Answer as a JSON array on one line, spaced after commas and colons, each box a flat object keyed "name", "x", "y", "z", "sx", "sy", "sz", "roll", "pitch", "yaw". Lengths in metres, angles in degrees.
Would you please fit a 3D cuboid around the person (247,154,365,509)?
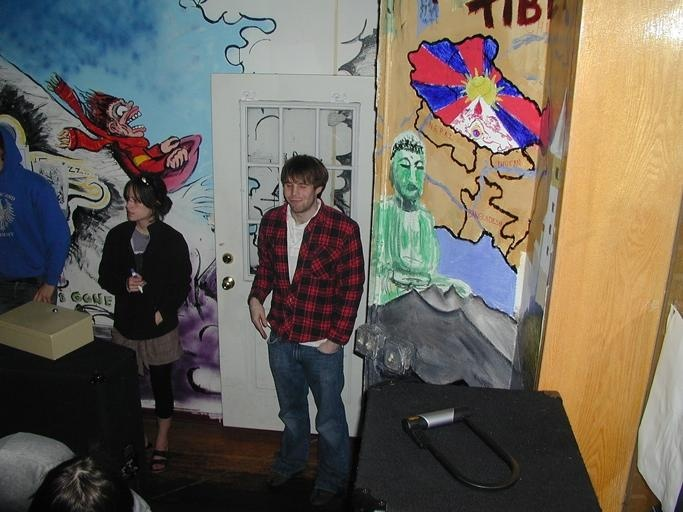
[{"name": "person", "x": -0.204, "y": 0.380, "z": 2.782, "sx": 0.631, "sy": 1.795, "sz": 0.356, "roll": 9, "pitch": 15, "yaw": 29}]

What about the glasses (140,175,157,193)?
[{"name": "glasses", "x": -1.101, "y": -0.415, "z": 2.948, "sx": 0.067, "sy": 0.089, "sz": 0.024, "roll": 22, "pitch": 14, "yaw": 41}]
